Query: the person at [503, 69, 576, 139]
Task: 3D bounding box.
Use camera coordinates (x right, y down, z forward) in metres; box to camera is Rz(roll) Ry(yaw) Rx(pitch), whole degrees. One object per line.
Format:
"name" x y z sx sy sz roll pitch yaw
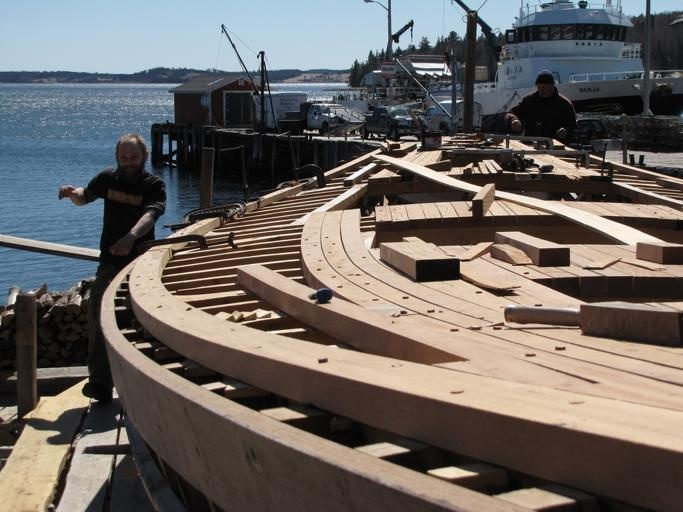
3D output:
"person" 3.009 -2.198 10.030 0.962 0.968 0.838 6 14 26

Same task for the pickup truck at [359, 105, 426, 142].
"pickup truck" 2.278 -6.284 31.826 2.079 1.451 4.109 -4 14 -14

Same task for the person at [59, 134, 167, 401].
"person" -1.744 0.136 5.362 0.957 2.149 0.721 9 16 40
